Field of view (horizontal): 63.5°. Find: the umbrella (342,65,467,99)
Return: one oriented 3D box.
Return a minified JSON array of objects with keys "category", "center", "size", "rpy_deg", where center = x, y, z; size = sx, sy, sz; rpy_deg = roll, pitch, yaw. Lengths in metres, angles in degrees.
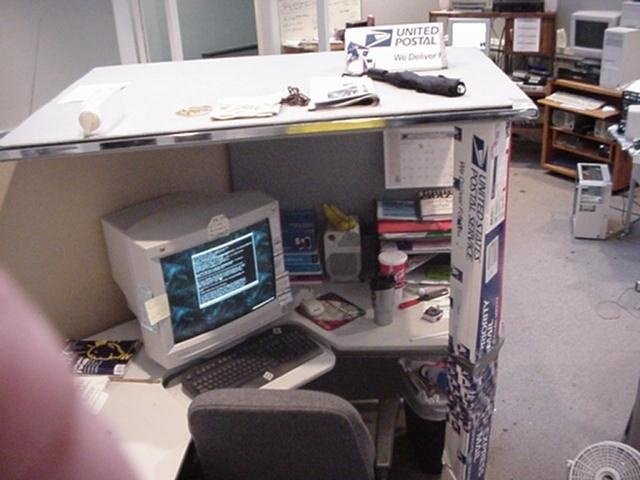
[{"category":"umbrella","center":[0.277,-0.484,1.574],"size":[0.098,0.069,0.393],"rpy_deg":[-18,26,-30]}]

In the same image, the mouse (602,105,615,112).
[{"category":"mouse","center":[2.451,-1.109,4.389],"size":[0.101,0.033,0.126],"rpy_deg":[8,25,26]}]

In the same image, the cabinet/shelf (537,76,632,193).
[{"category":"cabinet/shelf","center":[2.481,-0.901,4.635],"size":[0.497,0.843,0.749],"rpy_deg":[20,6,-28]}]

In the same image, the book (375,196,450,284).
[{"category":"book","center":[0.404,-0.016,2.245],"size":[0.370,0.359,0.124],"rpy_deg":[2,4,3]}]

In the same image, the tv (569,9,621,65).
[{"category":"tv","center":[2.414,-1.765,4.530],"size":[0.324,0.432,0.431],"rpy_deg":[-35,43,-25]}]

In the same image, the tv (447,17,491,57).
[{"category":"tv","center":[1.518,-2.066,5.410],"size":[0.454,0.414,0.246],"rpy_deg":[-1,4,-5]}]

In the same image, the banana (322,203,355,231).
[{"category":"banana","center":[0.086,-0.095,2.310],"size":[0.160,0.055,0.091],"rpy_deg":[28,56,13]}]

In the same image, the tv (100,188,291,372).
[{"category":"tv","center":[-0.465,0.105,2.014],"size":[0.576,0.532,0.429],"rpy_deg":[-19,27,-30]}]

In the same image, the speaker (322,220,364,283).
[{"category":"speaker","center":[0.107,0.051,2.340],"size":[0.197,0.247,0.186],"rpy_deg":[-13,24,-21]}]

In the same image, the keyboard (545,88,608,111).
[{"category":"keyboard","center":[2.281,-1.244,4.630],"size":[0.222,0.106,0.521],"rpy_deg":[-13,24,-20]}]
